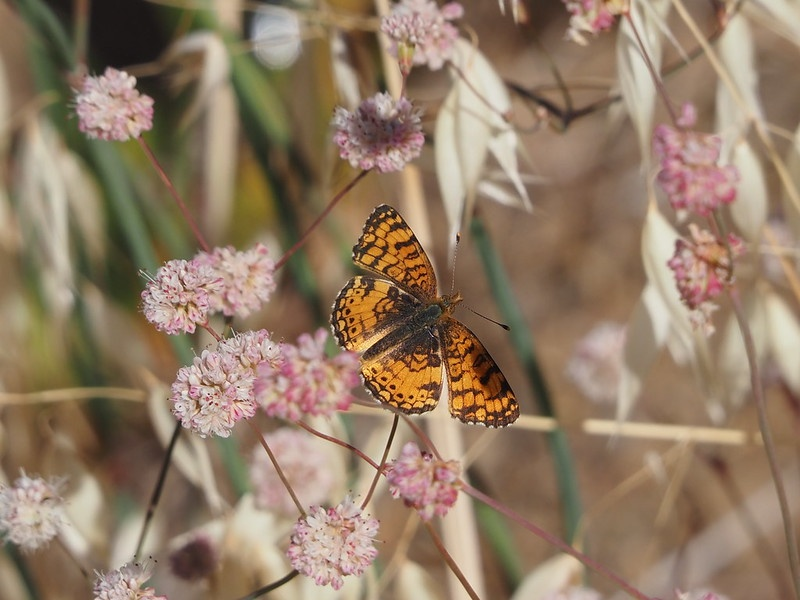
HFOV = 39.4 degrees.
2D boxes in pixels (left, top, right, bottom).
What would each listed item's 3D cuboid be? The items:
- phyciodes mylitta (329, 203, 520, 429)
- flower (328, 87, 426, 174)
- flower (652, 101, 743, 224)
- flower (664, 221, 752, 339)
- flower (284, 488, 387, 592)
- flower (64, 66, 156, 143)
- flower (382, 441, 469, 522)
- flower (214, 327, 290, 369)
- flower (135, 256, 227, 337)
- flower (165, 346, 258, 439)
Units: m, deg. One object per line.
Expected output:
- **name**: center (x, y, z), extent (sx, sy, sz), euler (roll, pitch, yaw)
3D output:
- **phyciodes mylitta**: center (0.011, 0.024, 1.347), extent (0.166, 0.364, 0.064), euler (-19, 36, 17)
- **flower**: center (-0.029, -0.179, 1.275), extent (0.113, 0.101, 0.081), euler (3, 71, 4)
- **flower**: center (0.329, -0.154, 1.248), extent (0.070, 0.041, 0.123), euler (-6, 98, 11)
- **flower**: center (0.334, -0.023, 1.245), extent (0.071, 0.035, 0.108), euler (25, 110, 26)
- **flower**: center (-0.070, 0.254, 1.172), extent (0.092, 0.038, 0.090), euler (29, 76, 11)
- **flower**: center (-0.315, -0.199, 1.218), extent (0.066, 0.040, 0.088), euler (10, 90, -8)
- **flower**: center (0.024, 0.184, 1.136), extent (0.068, 0.038, 0.075), euler (38, 59, 5)
- **flower**: center (-0.159, 0.044, 1.179), extent (0.041, 0.051, 0.028), euler (9, 107, -22)
- **flower**: center (-0.232, -0.011, 1.211), extent (0.059, 0.067, 0.053), euler (12, 104, 37)
- **flower**: center (-0.197, 0.103, 1.167), extent (0.070, 0.034, 0.096), euler (8, 83, -2)
